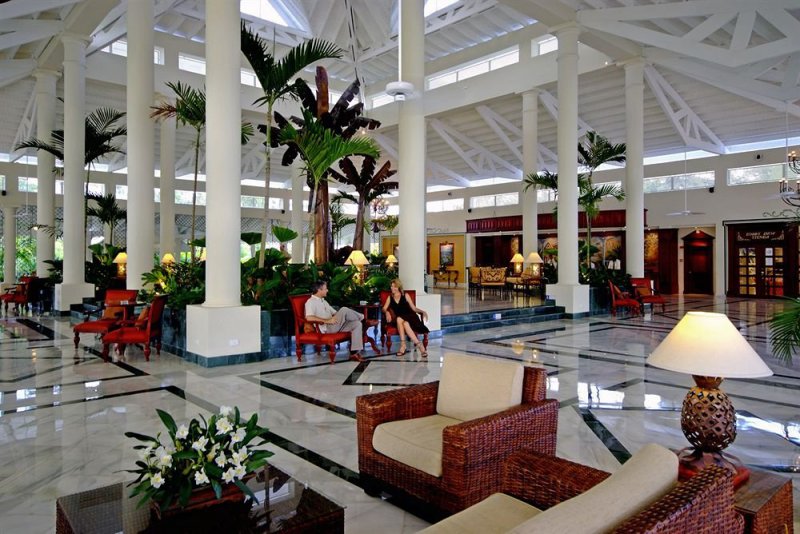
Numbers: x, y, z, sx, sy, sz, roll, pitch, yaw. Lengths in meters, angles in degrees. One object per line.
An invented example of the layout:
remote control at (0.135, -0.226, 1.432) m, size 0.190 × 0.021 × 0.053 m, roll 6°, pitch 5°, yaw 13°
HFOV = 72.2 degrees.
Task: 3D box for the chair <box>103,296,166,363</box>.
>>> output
chair at (-3.963, 0.951, 8.344) m, size 0.997 × 1.181 × 0.856 m, roll 2°, pitch -4°, yaw -5°

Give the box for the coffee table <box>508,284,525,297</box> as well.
coffee table at (3.392, 0.649, 16.045) m, size 0.401 × 0.380 × 0.392 m, roll 0°, pitch 5°, yaw -15°

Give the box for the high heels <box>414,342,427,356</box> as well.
high heels at (0.316, 1.251, 8.420) m, size 0.158 × 0.152 × 0.438 m, roll -2°, pitch -7°, yaw 14°

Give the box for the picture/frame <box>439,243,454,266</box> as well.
picture/frame at (2.138, -0.600, 25.019) m, size 0.092 × 1.175 × 1.037 m, roll -3°, pitch 4°, yaw -44°

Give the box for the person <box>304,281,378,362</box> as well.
person at (-0.927, 0.747, 8.054) m, size 0.891 × 1.108 × 0.558 m, roll -3°, pitch 3°, yaw -2°

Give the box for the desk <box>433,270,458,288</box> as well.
desk at (2.181, 0.404, 24.810) m, size 0.666 × 0.654 × 1.302 m, roll -3°, pitch 2°, yaw -32°

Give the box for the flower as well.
flower at (-1.314, 1.109, 3.650) m, size 0.795 × 0.390 × 0.786 m, roll -6°, pitch 9°, yaw -38°

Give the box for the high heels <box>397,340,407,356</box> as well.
high heels at (0.024, 1.253, 8.543) m, size 0.160 × 0.203 × 0.470 m, roll -1°, pitch -9°, yaw 7°

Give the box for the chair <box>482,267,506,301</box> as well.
chair at (2.901, 0.314, 16.963) m, size 0.811 × 1.054 × 0.825 m, roll -2°, pitch -10°, yaw 16°

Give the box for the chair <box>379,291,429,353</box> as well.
chair at (0.047, 0.868, 8.671) m, size 0.543 × 1.067 × 0.628 m, roll -19°, pitch -11°, yaw -6°

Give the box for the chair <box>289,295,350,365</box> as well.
chair at (-1.354, 0.886, 7.952) m, size 0.960 × 1.151 × 0.856 m, roll -1°, pitch -1°, yaw 19°

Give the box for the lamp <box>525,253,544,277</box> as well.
lamp at (3.634, -0.084, 14.877) m, size 0.473 × 0.652 × 0.975 m, roll -1°, pitch -2°, yaw 13°

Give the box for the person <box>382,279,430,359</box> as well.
person at (0.026, 0.746, 8.414) m, size 0.571 × 1.135 × 0.664 m, roll -6°, pitch -4°, yaw -9°

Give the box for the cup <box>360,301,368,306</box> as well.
cup at (-0.578, 0.570, 8.789) m, size 0.074 × 0.053 × 0.073 m, roll 0°, pitch 4°, yaw 0°

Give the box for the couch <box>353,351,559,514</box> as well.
couch at (0.492, 1.074, 4.451) m, size 1.277 × 1.139 × 1.308 m, roll 2°, pitch -4°, yaw -41°

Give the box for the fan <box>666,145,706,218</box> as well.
fan at (8.896, -2.719, 17.024) m, size 0.927 × 2.309 × 2.006 m, roll -2°, pitch -2°, yaw 29°

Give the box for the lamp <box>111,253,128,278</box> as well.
lamp at (-7.132, -0.071, 13.920) m, size 0.246 × 0.684 × 0.711 m, roll 0°, pitch -2°, yaw -31°
